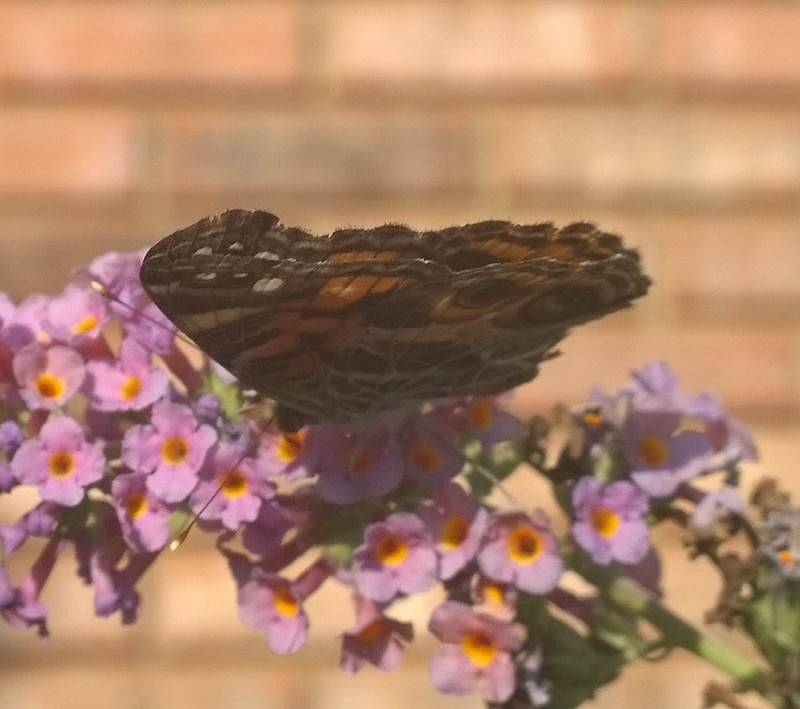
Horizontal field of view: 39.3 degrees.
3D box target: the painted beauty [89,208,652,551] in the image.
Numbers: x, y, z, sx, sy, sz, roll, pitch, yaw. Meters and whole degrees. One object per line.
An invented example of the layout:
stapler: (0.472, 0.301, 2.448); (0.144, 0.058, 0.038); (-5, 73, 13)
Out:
painted beauty: (0.000, 0.001, 1.076); (0.411, 0.113, 0.267); (-9, -8, 12)
